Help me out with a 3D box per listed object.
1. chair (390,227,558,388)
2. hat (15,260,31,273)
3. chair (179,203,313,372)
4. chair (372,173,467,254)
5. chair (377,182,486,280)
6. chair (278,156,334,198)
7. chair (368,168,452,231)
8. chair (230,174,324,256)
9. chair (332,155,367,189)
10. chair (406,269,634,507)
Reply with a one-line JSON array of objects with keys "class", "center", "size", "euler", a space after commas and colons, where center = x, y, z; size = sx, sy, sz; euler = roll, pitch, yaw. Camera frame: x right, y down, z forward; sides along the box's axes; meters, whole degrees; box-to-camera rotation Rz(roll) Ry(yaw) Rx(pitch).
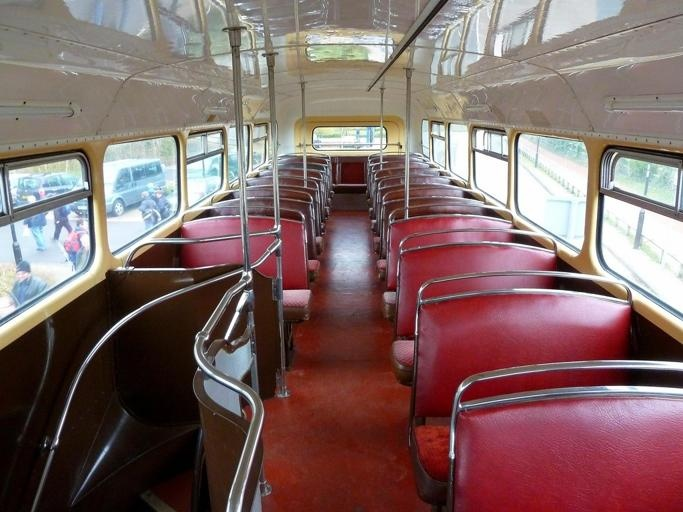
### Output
[{"class": "chair", "center": [0.888, 0.338, 3.183], "size": [1.187, 0.664, 1.213], "euler": [0, -85, -5]}, {"class": "hat", "center": [-2.065, 0.063, 3.086], "size": [0.056, 0.060, 0.063], "euler": [-1, -93, 32]}, {"class": "chair", "center": [-0.970, 0.288, 5.347], "size": [1.295, 1.499, 2.030], "euler": [-1, -93, 2]}, {"class": "chair", "center": [0.902, -0.521, 5.566], "size": [1.025, 0.689, 0.844], "euler": [-1, -68, -4]}, {"class": "chair", "center": [0.961, -0.565, 5.946], "size": [0.890, 1.834, 0.969], "euler": [0, -67, 1]}, {"class": "chair", "center": [-0.750, -1.806, 9.741], "size": [0.994, 1.093, 0.800], "euler": [0, -72, -1]}, {"class": "chair", "center": [1.075, -1.126, 7.502], "size": [1.448, 1.089, 1.187], "euler": [0, -67, -2]}, {"class": "chair", "center": [-0.706, -0.472, 5.406], "size": [1.004, 0.581, 1.089], "euler": [3, -62, -3]}, {"class": "chair", "center": [0.242, -2.264, 12.931], "size": [0.801, 0.868, 0.917], "euler": [-1, -87, -7]}, {"class": "chair", "center": [1.082, 0.495, 3.097], "size": [1.463, 1.239, 1.608], "euler": [-1, -81, -1]}]
